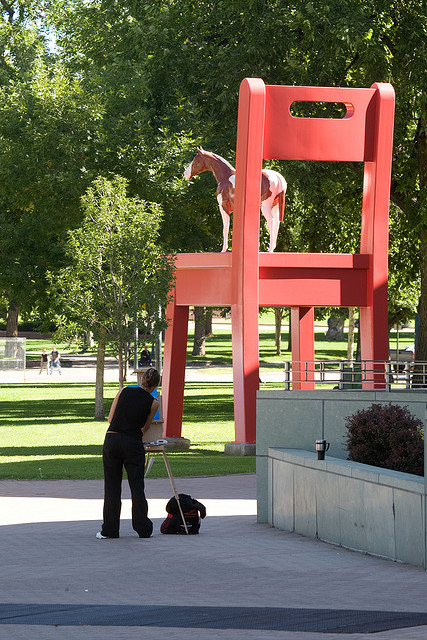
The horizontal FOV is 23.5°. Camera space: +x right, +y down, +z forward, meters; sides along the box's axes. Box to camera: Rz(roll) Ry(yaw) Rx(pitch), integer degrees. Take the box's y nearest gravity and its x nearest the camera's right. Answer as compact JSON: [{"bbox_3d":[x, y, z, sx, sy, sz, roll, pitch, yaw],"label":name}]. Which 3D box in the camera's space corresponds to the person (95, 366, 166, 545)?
[{"bbox_3d":[-0.764,1.182,9.329,0.546,1.502,2.106,1,-2,-4],"label":"person"}]

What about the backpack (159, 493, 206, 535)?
[{"bbox_3d":[-0.258,1.737,9.179,0.390,0.426,0.367,-2,-8,17],"label":"backpack"}]

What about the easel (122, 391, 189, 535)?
[{"bbox_3d":[-0.581,1.298,9.559,0.555,1.283,0.626,-4,-5,-23],"label":"easel"}]

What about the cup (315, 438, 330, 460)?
[{"bbox_3d":[0.978,1.185,9.428,0.158,0.250,0.123,1,-1,0],"label":"cup"}]
